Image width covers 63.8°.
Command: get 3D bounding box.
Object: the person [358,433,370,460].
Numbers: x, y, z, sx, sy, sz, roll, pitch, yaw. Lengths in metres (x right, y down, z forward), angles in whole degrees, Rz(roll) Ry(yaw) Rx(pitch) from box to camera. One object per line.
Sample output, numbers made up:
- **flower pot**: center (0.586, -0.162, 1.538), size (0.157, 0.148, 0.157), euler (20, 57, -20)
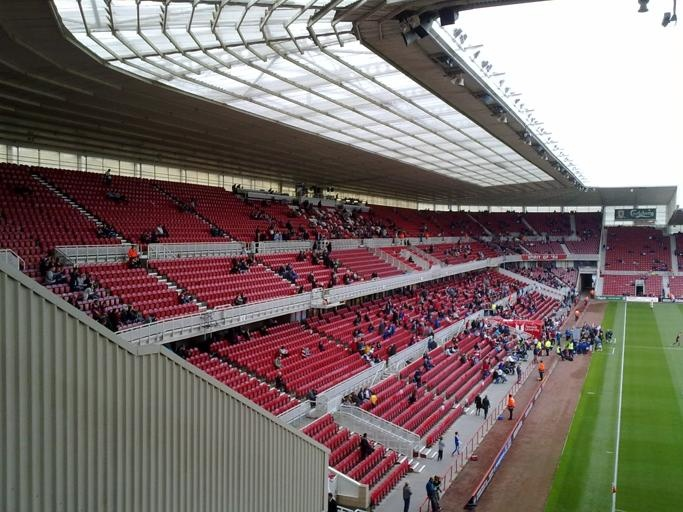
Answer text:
- **person**: center (0.847, 6.905, 19.738), size (0.414, 0.644, 0.712), euler (-2, 5, 2)
